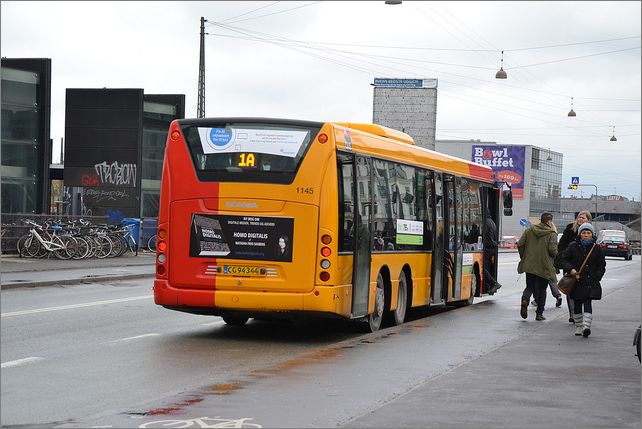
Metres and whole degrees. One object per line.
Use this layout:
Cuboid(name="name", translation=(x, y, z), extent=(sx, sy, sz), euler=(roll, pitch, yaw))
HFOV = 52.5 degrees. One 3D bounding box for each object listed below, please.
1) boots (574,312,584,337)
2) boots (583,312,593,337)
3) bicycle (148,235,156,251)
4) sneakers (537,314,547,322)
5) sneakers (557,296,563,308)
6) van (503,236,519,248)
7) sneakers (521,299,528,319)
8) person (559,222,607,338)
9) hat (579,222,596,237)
Cuboid(name="boots", translation=(4.801, 2.032, 12.098), extent=(0.136, 0.364, 0.338), euler=(1, 0, 19))
Cuboid(name="boots", translation=(4.898, 2.029, 11.990), extent=(0.140, 0.394, 0.261), euler=(1, 0, 21))
Cuboid(name="bicycle", translation=(-9.351, 1.506, 35.476), extent=(0.423, 0.828, 0.685), euler=(1, 0, -19))
Cuboid(name="sneakers", translation=(4.870, 2.259, 14.402), extent=(0.201, 0.114, 0.337), euler=(1, 0, 18))
Cuboid(name="sneakers", translation=(6.481, 2.374, 17.703), extent=(0.111, 0.337, 0.154), euler=(-7, 39, -8))
Cuboid(name="van", translation=(23.589, 3.340, 81.294), extent=(2.086, 1.676, 3.116), euler=(-2, -8, 12))
Cuboid(name="sneakers", translation=(4.472, 2.102, 14.215), extent=(0.152, 0.500, 0.197), euler=(-3, 15, 11))
Cuboid(name="person", translation=(4.904, 1.198, 12.181), extent=(0.798, 1.907, 0.634), euler=(1, 0, 14))
Cuboid(name="hat", translation=(5.003, 0.249, 12.212), extent=(0.233, 0.185, 0.246), euler=(2, -10, 5))
